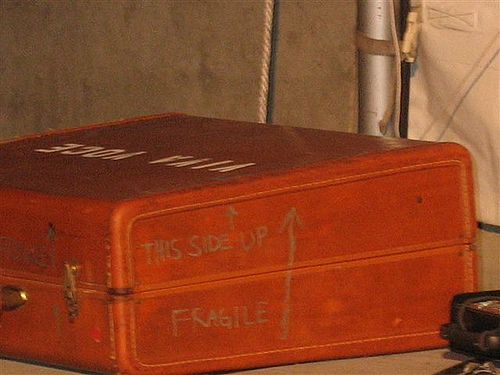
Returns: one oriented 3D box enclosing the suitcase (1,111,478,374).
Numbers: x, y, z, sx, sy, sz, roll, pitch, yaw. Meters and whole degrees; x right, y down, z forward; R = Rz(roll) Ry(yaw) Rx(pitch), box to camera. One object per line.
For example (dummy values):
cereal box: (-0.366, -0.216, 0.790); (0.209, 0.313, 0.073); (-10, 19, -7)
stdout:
suitcase: (-0.039, 0.113, 2.039); (0.528, 0.211, 0.516); (-4, 7, -35)
